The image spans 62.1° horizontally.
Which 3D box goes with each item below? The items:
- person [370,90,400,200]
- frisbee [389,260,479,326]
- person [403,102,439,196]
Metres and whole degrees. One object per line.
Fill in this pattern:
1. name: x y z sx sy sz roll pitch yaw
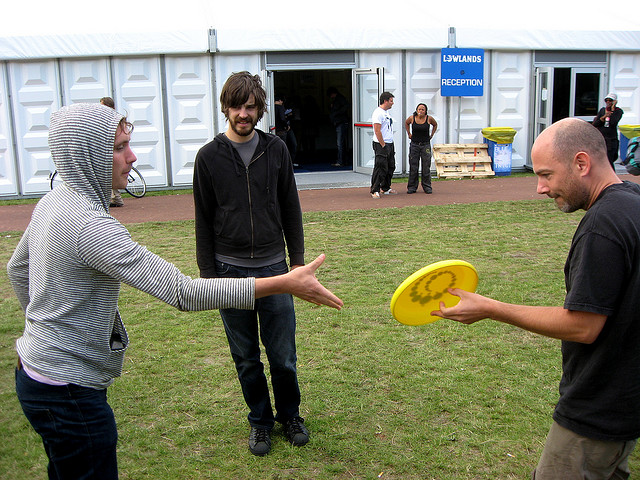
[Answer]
1. person: 1.464 -2.145 12.245 0.588 2.389 0.899 0 14 8
2. frisbee: 0.622 0.308 2.872 0.455 0.468 0.414 1 15 10
3. person: 2.487 -2.281 13.173 0.726 2.121 1.335 0 15 9
